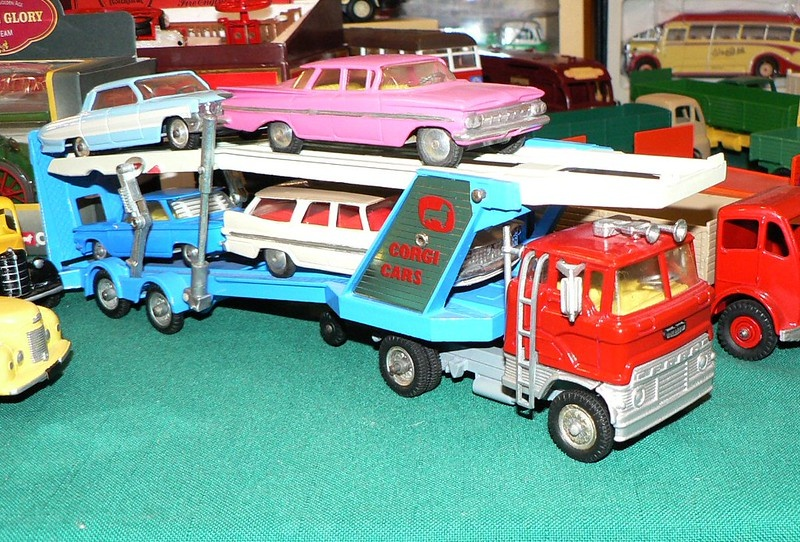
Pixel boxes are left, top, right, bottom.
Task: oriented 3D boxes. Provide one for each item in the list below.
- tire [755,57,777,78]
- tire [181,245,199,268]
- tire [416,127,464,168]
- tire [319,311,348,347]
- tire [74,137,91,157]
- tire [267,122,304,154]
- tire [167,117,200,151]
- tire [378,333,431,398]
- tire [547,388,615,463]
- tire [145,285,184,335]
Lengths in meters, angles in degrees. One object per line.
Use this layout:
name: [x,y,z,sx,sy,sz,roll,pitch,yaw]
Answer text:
tire: [10.403,-5.742,16.256,0.634,0.658,0.252,7,20,32]
tire: [-3.133,-0.230,8.598,0.317,0.329,0.138,4,10,39]
tire: [0.474,-1.429,6.631,0.431,0.446,0.159,7,17,43]
tire: [-0.908,0.802,8.020,0.150,0.487,0.471,-19,26,-40]
tire: [-4.819,-1.885,8.733,0.185,0.189,0.189,11,44,2]
tire: [-1.500,-1.760,7.596,0.327,0.337,0.119,18,18,23]
tire: [-3.007,-1.928,8.015,0.398,0.412,0.147,7,16,32]
tire: [0.087,1.128,6.959,0.724,0.751,0.492,5,14,36]
tire: [1.898,1.587,5.937,0.719,0.741,0.235,10,20,41]
tire: [-3.471,0.556,8.527,0.526,0.540,0.270,27,24,27]
